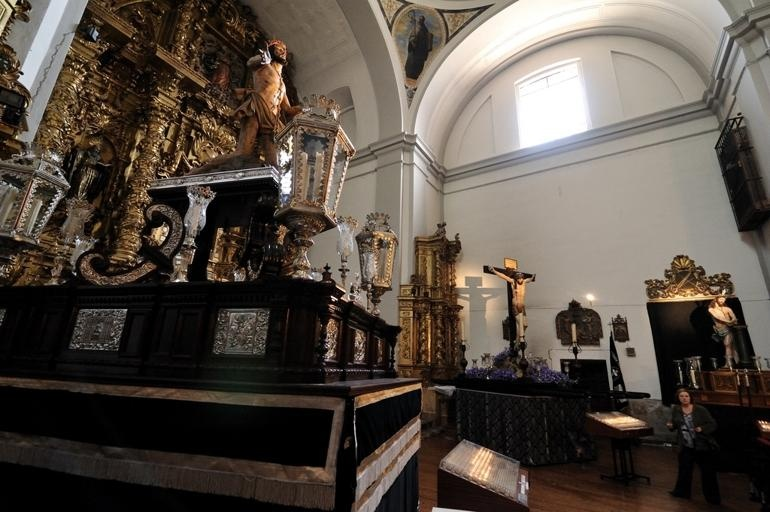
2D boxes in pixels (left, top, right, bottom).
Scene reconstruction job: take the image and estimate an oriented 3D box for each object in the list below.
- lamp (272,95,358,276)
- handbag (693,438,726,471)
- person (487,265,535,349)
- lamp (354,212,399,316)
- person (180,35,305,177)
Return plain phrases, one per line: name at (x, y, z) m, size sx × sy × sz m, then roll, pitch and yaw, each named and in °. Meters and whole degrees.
lamp at (-0.659, -0.619, 3.964) m, size 0.669 × 1.659 × 0.402 m, roll 7°, pitch -13°, yaw -20°
handbag at (4.284, 2.611, 5.741) m, size 0.354 × 0.352 × 0.409 m, roll -2°, pitch -31°, yaw 12°
person at (2.923, 1.040, 9.912) m, size 0.882 × 2.059 × 1.324 m, roll -3°, pitch -13°, yaw 23°
lamp at (-0.142, 0.031, 5.270) m, size 0.466 × 1.357 × 0.653 m, roll -1°, pitch -13°, yaw 15°
person at (-1.462, -1.713, 5.022) m, size 0.988 × 1.993 × 1.074 m, roll -7°, pitch -18°, yaw 32°
